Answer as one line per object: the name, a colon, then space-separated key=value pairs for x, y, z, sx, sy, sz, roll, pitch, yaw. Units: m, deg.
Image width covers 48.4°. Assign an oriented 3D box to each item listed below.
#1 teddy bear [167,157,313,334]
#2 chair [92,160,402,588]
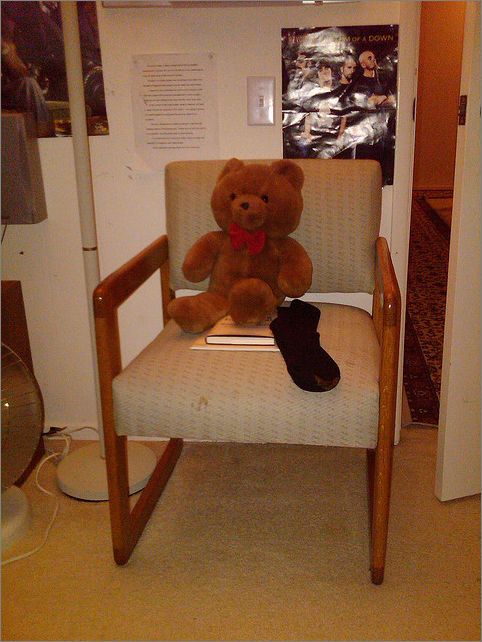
teddy bear: x=0.004 y=-0.174 z=1.221 sx=0.272 sy=0.338 sz=0.270 roll=16 pitch=33 yaw=23
chair: x=0.033 y=0.064 z=1.197 sx=0.580 sy=0.847 sz=0.541 roll=0 pitch=14 yaw=10
